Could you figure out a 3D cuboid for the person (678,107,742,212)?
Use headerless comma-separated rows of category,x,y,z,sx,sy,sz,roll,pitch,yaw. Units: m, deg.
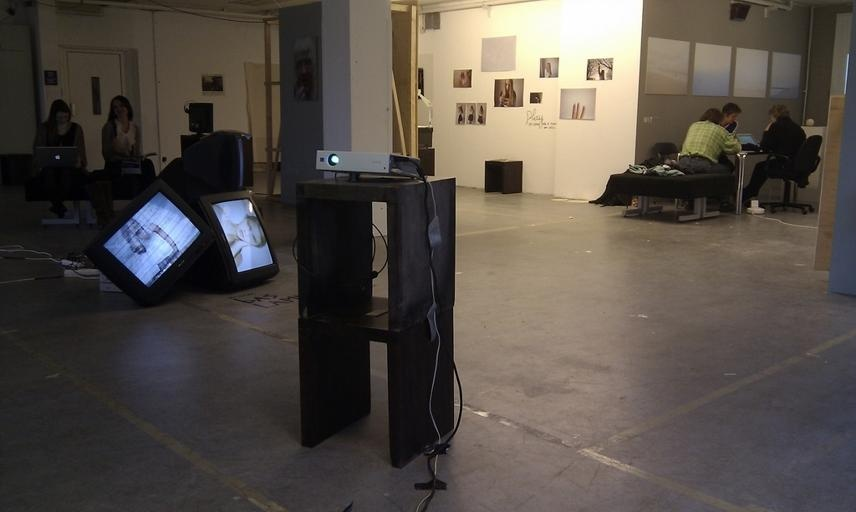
person,4.940,-1.782,10.653,0.996,1.505,1.037,8,21,33

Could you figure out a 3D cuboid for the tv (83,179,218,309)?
tv,-2.544,-0.168,5.979,0.878,0.749,0.493,-23,1,14

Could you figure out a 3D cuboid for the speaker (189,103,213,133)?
speaker,-3.564,-2.148,9.661,0.501,0.467,0.252,8,15,28

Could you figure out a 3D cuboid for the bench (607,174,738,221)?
bench,4.119,-1.078,10.533,1.799,0.733,1.378,-9,17,-36

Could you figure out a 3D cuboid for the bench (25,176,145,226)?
bench,-5.010,-0.878,9.036,1.351,0.584,0.850,-3,-11,-25

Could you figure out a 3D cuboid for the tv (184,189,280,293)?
tv,-2.076,-0.129,6.357,0.603,0.944,0.755,-20,-4,9

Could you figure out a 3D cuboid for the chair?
chair,6.187,-1.479,10.651,0.878,1.338,1.003,3,4,24

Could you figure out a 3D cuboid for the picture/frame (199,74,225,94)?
picture/frame,-5.391,-4.264,15.226,0.076,0.391,0.545,5,9,38

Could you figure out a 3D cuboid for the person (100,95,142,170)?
person,-4.796,-1.935,9.562,0.548,1.066,1.215,-5,15,-25

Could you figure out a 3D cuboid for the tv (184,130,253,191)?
tv,-2.135,-0.942,6.203,0.619,0.584,0.306,-8,16,-34

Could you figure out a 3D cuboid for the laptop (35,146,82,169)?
laptop,-5.264,-1.393,8.711,0.549,0.304,0.400,-5,15,-25

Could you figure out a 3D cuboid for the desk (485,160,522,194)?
desk,1.603,-1.715,13.371,0.712,0.901,0.936,-4,7,-35
